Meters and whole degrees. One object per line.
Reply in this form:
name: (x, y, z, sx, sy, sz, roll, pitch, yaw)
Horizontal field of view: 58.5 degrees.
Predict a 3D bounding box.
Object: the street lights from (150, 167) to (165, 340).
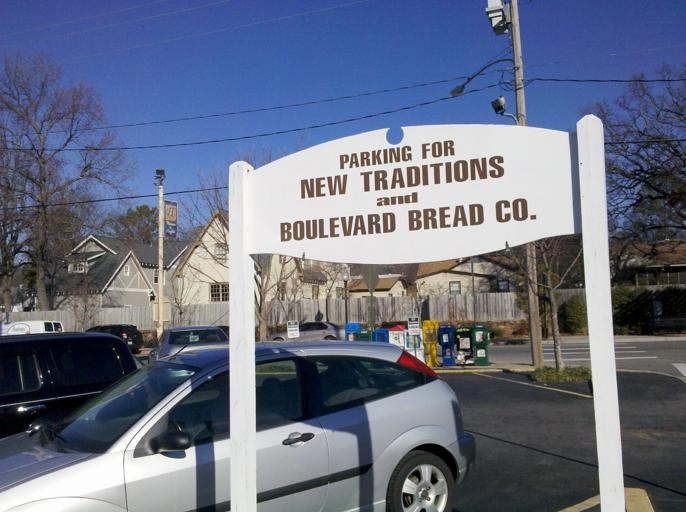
street lights: (-8.096, -0.274, 27.824, 0.839, 7.438, 0.755, -8, 15, -41)
